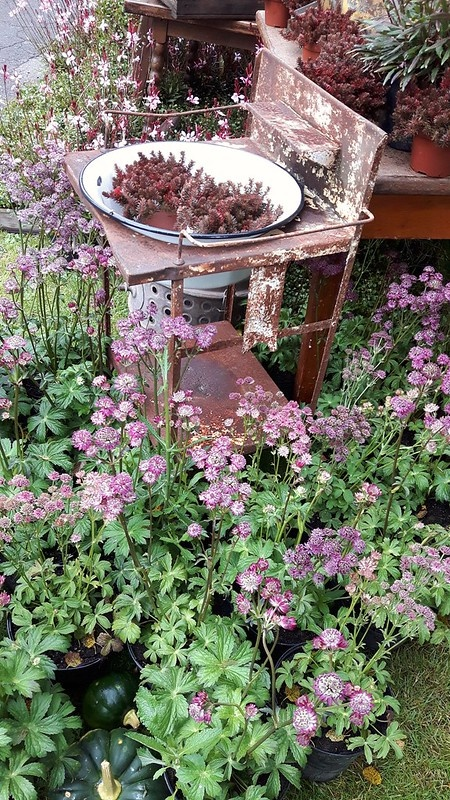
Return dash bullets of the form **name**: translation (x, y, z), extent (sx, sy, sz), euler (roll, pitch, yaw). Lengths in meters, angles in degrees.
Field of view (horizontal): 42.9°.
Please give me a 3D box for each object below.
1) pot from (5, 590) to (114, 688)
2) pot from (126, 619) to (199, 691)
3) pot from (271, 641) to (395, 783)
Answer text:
- **pot**: translation (-0.443, 0.703, 1.598), extent (0.251, 0.179, 0.248), euler (2, 21, -1)
- **pot**: translation (-0.150, 0.620, 1.412), extent (0.183, 0.068, 0.171), euler (28, 38, -25)
- **pot**: translation (0.278, 0.878, 1.538), extent (0.295, 0.255, 0.349), euler (2, 21, 2)
